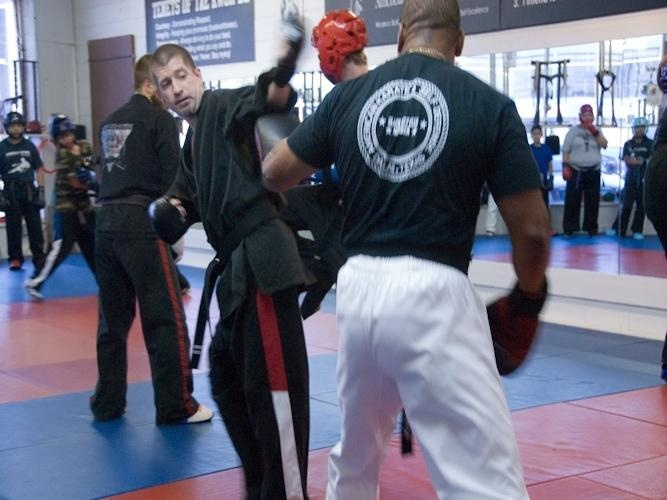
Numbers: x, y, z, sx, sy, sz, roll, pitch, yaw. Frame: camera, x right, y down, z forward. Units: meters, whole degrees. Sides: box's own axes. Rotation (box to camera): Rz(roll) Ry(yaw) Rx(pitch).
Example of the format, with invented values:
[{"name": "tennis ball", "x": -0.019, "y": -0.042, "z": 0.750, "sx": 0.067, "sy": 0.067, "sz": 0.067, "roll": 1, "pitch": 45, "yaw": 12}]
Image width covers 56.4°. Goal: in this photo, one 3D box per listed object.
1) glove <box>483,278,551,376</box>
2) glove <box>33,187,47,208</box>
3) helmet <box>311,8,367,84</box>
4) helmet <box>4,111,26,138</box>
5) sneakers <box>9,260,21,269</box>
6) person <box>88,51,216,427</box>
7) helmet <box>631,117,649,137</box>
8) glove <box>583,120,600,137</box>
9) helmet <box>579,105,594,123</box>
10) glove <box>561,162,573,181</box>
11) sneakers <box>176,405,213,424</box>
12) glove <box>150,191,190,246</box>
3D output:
[{"name": "glove", "x": 0.657, "y": 0.325, "z": 2.188, "sx": 0.229, "sy": 0.443, "sz": 0.195, "roll": 2, "pitch": 23, "yaw": 26}, {"name": "glove", "x": -5.145, "y": -0.916, "z": 10.785, "sx": 0.197, "sy": 0.319, "sz": 0.113, "roll": -2, "pitch": 2, "yaw": -8}, {"name": "helmet", "x": 0.041, "y": -1.008, "z": 2.999, "sx": 0.303, "sy": 0.325, "sz": 0.256, "roll": 6, "pitch": 34, "yaw": 24}, {"name": "helmet", "x": -5.408, "y": -2.109, "z": 10.483, "sx": 0.309, "sy": 0.471, "sz": 0.437, "roll": -6, "pitch": 2, "yaw": -24}, {"name": "sneakers", "x": -5.587, "y": 0.270, "z": 10.847, "sx": 0.117, "sy": 0.155, "sz": 0.207, "roll": 2, "pitch": 10, "yaw": -17}, {"name": "person", "x": -1.325, "y": -0.102, "z": 4.358, "sx": 0.714, "sy": 2.523, "sz": 0.751, "roll": -2, "pitch": -1, "yaw": 13}, {"name": "helmet", "x": 3.242, "y": -1.305, "z": 6.555, "sx": 0.114, "sy": 0.179, "sz": 0.162, "roll": 2, "pitch": -5, "yaw": 26}, {"name": "glove", "x": 2.966, "y": -1.373, "z": 7.103, "sx": 0.145, "sy": 0.157, "sz": 0.141, "roll": -2, "pitch": 6, "yaw": -8}, {"name": "helmet", "x": 2.882, "y": -1.553, "z": 7.069, "sx": 0.122, "sy": 0.184, "sz": 0.175, "roll": -1, "pitch": 7, "yaw": 13}, {"name": "glove", "x": 2.830, "y": -0.951, "z": 7.510, "sx": 0.121, "sy": 0.211, "sz": 0.203, "roll": -4, "pitch": 3, "yaw": 17}, {"name": "sneakers", "x": -0.939, "y": 1.119, "z": 4.174, "sx": 0.235, "sy": 0.115, "sz": 0.087, "roll": -7, "pitch": 15, "yaw": -34}, {"name": "glove", "x": -0.792, "y": -0.139, "z": 3.100, "sx": 0.144, "sy": 0.219, "sz": 0.229, "roll": -20, "pitch": 43, "yaw": 24}]
